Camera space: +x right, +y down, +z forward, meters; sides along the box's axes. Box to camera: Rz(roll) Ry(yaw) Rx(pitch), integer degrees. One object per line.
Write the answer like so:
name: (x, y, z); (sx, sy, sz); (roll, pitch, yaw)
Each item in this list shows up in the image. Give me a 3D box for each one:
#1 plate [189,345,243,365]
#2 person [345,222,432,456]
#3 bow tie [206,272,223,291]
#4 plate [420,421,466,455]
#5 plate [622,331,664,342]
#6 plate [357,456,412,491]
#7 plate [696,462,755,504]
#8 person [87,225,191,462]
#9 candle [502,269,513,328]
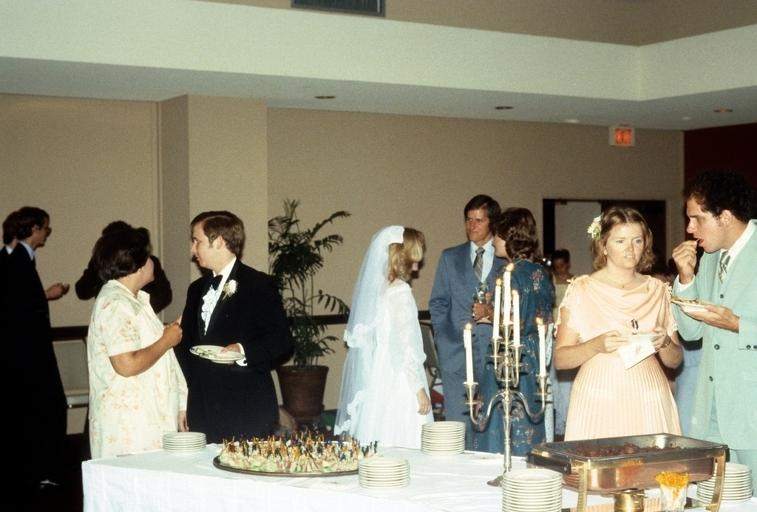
plate: (-1.005, 0.629, 4.671); (0.208, 0.128, 0.294); (-6, -7, 40)
person: (0.026, 0.580, 5.434); (0.692, 1.596, 0.334); (-3, -4, 24)
bow tie: (-1.093, 0.169, 4.933); (0.030, 0.103, 0.092); (14, -5, -31)
plate: (0.389, 1.072, 4.422); (0.184, 0.129, 0.199); (-2, -9, 4)
plate: (1.522, 0.459, 4.214); (0.240, 0.050, 0.118); (2, -6, -33)
plate: (0.026, 1.140, 3.879); (0.267, 0.143, 0.130); (-2, -5, -1)
plate: (1.812, 1.181, 3.847); (0.197, 0.137, 0.215); (0, -7, 4)
person: (-1.570, 0.541, 4.717); (0.624, 1.454, 0.414); (-1, -4, -4)
candle: (0.655, 0.202, 3.775); (0.040, 0.295, 0.163); (-2, -4, 8)
